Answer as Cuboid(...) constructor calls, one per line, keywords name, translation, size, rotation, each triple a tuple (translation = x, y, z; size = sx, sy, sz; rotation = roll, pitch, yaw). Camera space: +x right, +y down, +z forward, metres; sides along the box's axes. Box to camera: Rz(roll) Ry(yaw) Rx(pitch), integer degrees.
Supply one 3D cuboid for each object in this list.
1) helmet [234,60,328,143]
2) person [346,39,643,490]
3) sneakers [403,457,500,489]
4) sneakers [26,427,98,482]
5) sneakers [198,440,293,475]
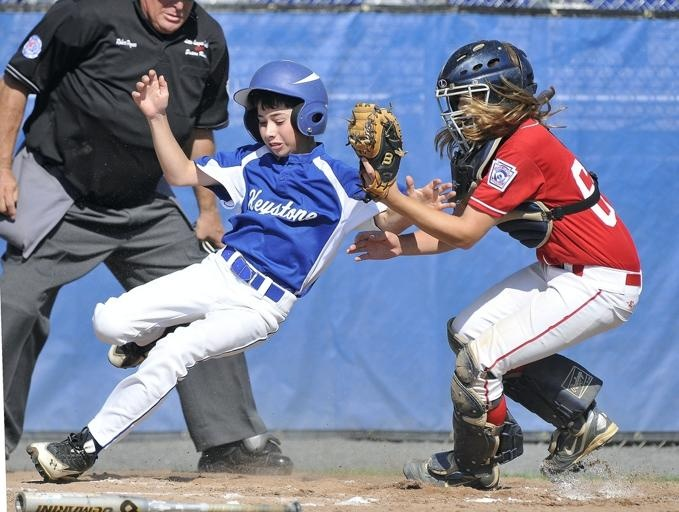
Cuboid(name="helmet", translation=(-0.275, -0.883, 7.591), size=(0.503, 0.370, 0.427), rotation=(7, -10, -43))
Cuboid(name="person", translation=(0.938, 0.084, 7.424), size=(1.407, 2.398, 0.810), rotation=(2, 21, 11))
Cuboid(name="sneakers", translation=(0.618, 1.187, 7.664), size=(0.536, 0.220, 0.186), rotation=(6, -3, 18))
Cuboid(name="sneakers", translation=(-1.478, 1.088, 7.326), size=(0.231, 0.211, 0.453), rotation=(-30, -13, 40))
Cuboid(name="sneakers", translation=(-0.548, 1.204, 8.219), size=(0.601, 0.242, 0.213), rotation=(0, 1, -6))
